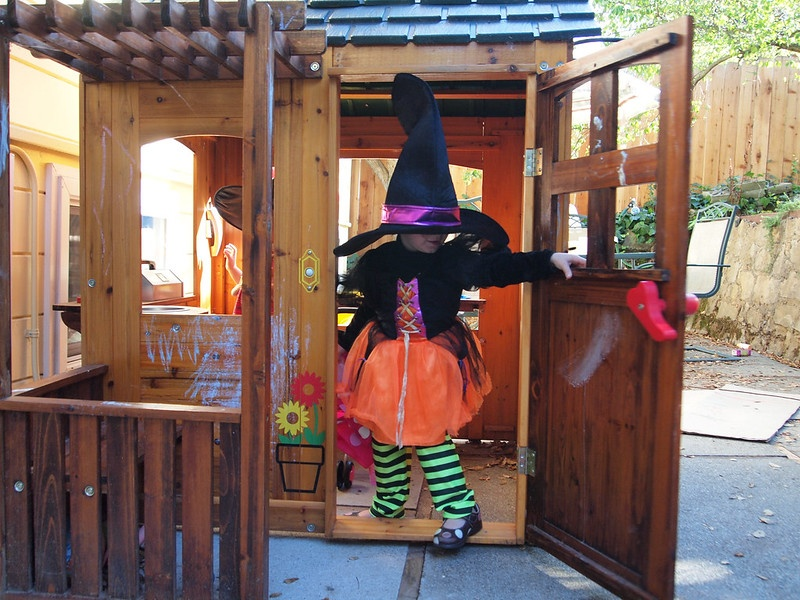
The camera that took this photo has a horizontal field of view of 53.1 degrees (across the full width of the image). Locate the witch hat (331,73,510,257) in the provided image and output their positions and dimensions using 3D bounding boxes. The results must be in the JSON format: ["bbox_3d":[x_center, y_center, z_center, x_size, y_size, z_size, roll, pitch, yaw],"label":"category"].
[{"bbox_3d":[0.102,-0.744,4.346,0.854,1.038,0.777,3,1,24],"label":"witch hat"}]

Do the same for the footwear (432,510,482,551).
[{"bbox_3d":[0.333,1.259,4.486,0.164,0.194,0.416,-4,1,35],"label":"footwear"}]

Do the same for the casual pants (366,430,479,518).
[{"bbox_3d":[0.106,1.016,4.616,0.472,0.522,0.198,-6,1,23],"label":"casual pants"}]

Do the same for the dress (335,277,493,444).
[{"bbox_3d":[0.103,0.385,4.687,0.841,0.544,1.127,9,24,23],"label":"dress"}]

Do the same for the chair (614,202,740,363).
[{"bbox_3d":[2.600,-0.216,7.397,0.793,1.299,0.662,-1,16,-28],"label":"chair"}]

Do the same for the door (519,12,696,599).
[{"bbox_3d":[1.052,0.073,4.095,0.217,2.825,0.934,-2,3,-37],"label":"door"}]
